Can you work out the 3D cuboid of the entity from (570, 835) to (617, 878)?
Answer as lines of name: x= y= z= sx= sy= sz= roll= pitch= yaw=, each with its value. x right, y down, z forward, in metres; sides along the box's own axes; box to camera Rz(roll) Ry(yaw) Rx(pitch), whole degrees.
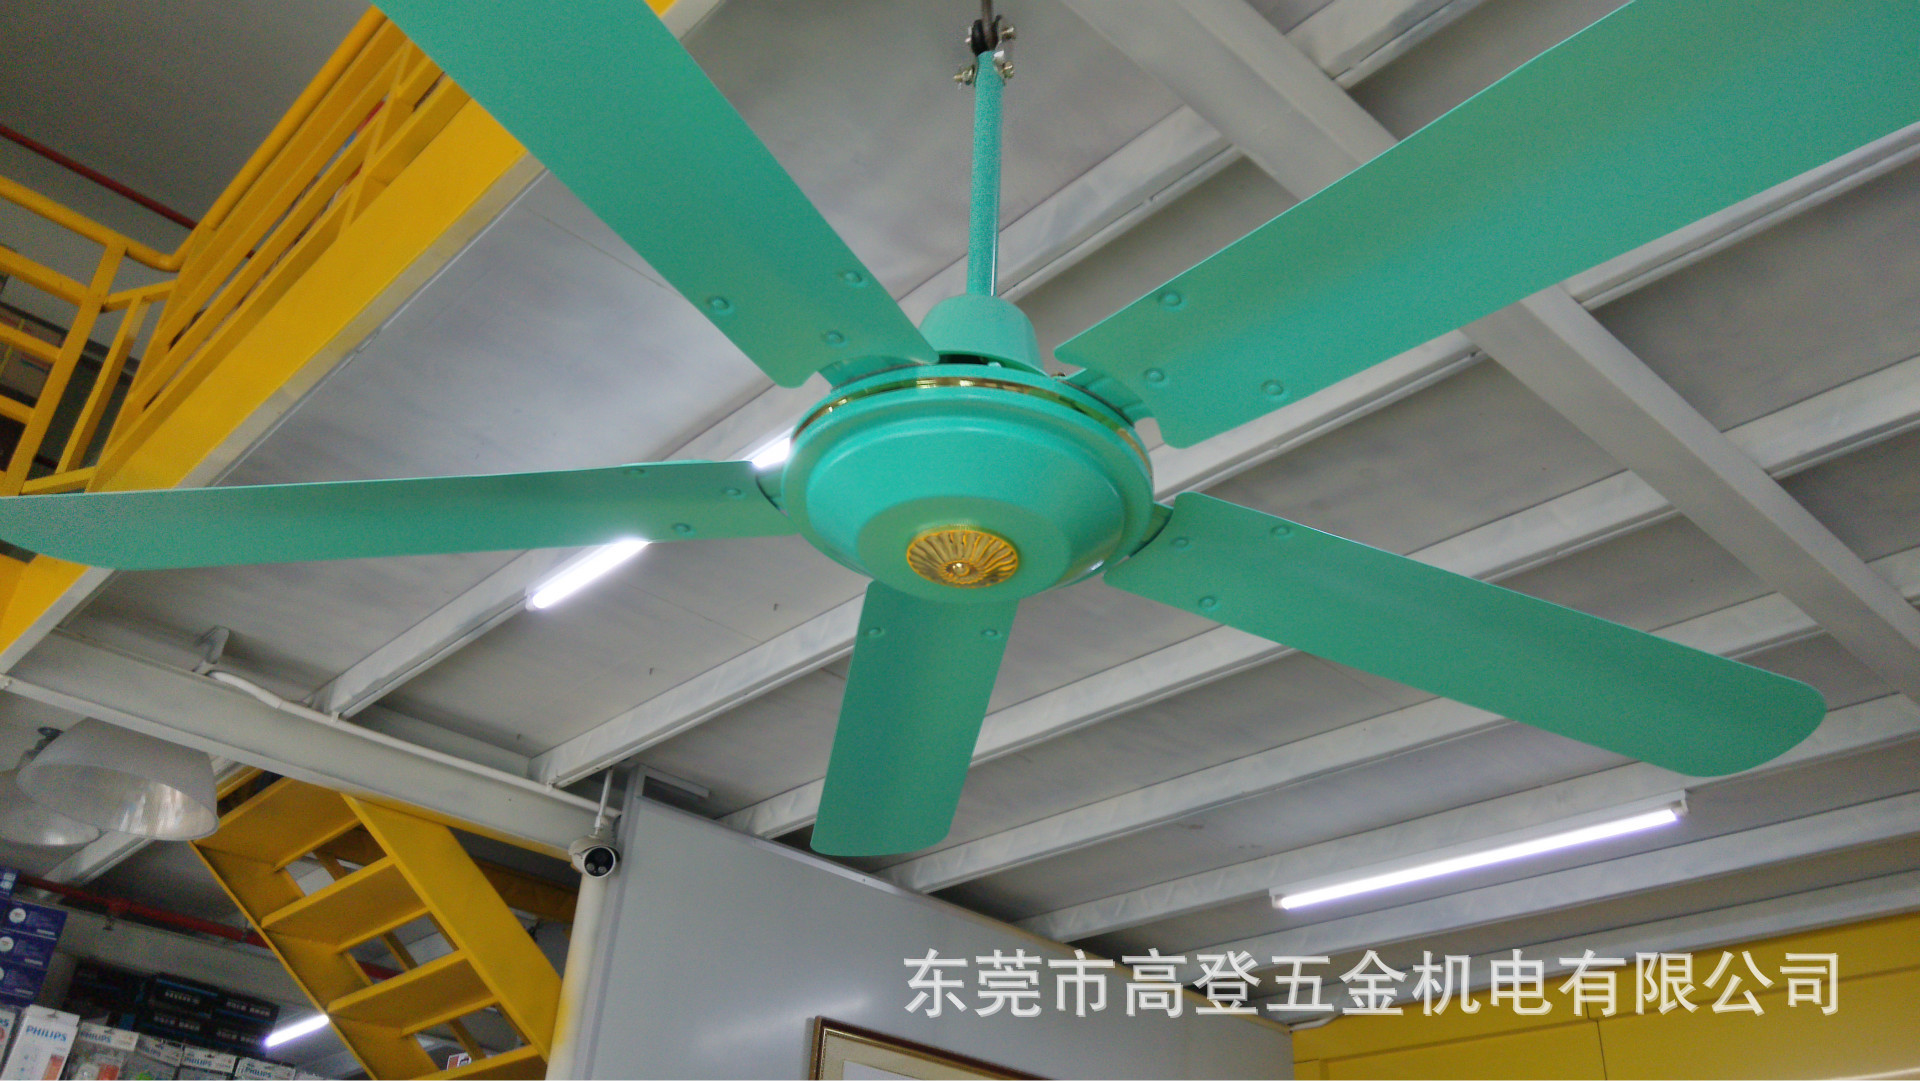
entity: x=-1.738 y=1.503 z=5.987 sx=0.169 sy=0.086 sz=0.222 roll=14 pitch=-9 yaw=-16
